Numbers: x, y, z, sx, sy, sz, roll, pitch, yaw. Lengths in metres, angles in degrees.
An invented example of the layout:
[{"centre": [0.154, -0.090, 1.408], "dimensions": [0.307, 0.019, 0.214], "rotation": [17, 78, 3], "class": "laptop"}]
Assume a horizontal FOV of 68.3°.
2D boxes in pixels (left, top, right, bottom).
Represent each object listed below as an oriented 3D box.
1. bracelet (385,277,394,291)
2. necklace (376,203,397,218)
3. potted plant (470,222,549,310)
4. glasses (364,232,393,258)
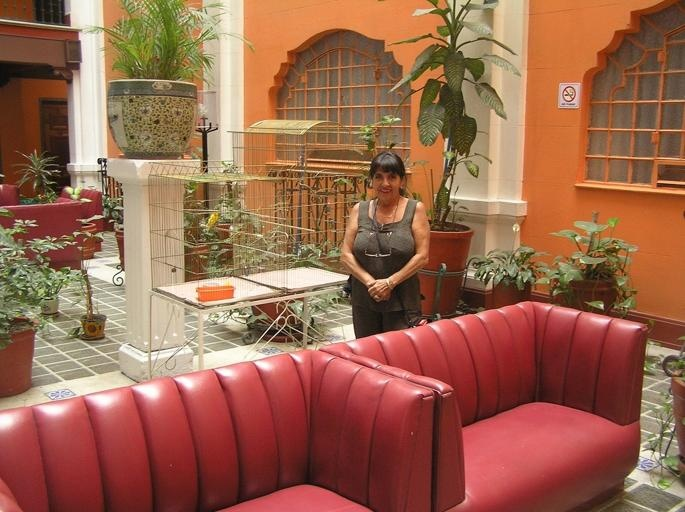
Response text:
[{"centre": [0.314, 0.187, 3.321], "dimensions": [0.059, 0.059, 0.069], "rotation": [1, -8, 1], "class": "bracelet"}, {"centre": [0.313, -0.312, 3.468], "dimensions": [0.102, 0.047, 0.125], "rotation": [-1, -7, 0], "class": "necklace"}, {"centre": [1.685, 0.184, 5.340], "dimensions": [0.651, 0.843, 0.670], "rotation": [-4, 7, -4], "class": "potted plant"}, {"centre": [0.226, -0.073, 3.355], "dimensions": [0.154, 0.149, 0.050], "rotation": [-2, 2, 20], "class": "glasses"}]
